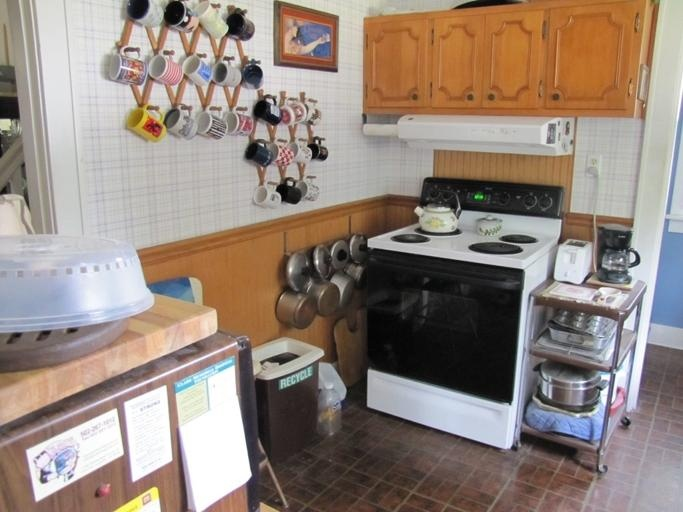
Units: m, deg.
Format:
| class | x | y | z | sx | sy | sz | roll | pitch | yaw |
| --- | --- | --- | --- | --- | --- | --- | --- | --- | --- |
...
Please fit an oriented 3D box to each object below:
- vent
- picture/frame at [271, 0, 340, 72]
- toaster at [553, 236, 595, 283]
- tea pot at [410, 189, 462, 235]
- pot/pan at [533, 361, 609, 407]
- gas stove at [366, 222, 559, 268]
| class | x | y | z | sx | sy | sz | roll | pitch | yaw |
| --- | --- | --- | --- | --- | --- | --- | --- | --- | --- |
| vent | 0.823 | -0.699 | 2.863 | 1.003 | 0.229 | 0.438 | 6 | 19 | 19 |
| picture/frame | -0.216 | -1.210 | 2.693 | 0.023 | 0.317 | 0.508 | 7 | 11 | 37 |
| toaster | 1.286 | 0.020 | 2.732 | 0.149 | 0.191 | 0.273 | 12 | 23 | 30 |
| tea pot | 0.578 | -0.282 | 3.076 | 0.278 | 0.254 | 0.210 | 11 | 19 | 25 |
| pot/pan | 1.198 | 0.640 | 2.558 | 0.251 | 0.125 | 0.216 | 12 | 20 | 41 |
| gas stove | 0.776 | -0.070 | 3.154 | 1.034 | 0.118 | 1.358 | 10 | 11 | 35 |
